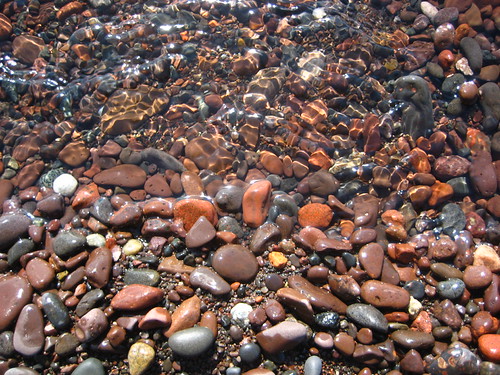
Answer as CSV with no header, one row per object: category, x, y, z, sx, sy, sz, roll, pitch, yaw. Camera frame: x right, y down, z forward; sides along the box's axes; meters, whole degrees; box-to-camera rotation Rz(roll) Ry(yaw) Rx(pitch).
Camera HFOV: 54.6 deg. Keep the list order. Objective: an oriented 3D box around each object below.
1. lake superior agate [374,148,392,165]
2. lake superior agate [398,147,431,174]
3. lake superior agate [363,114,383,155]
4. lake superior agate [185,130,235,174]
lake superior agate,2.159,-0.469,7.898,0.265,0.123,0.223,-36,51,-7
lake superior agate,2.723,-0.381,7.888,0.429,0.236,0.414,-43,52,-12
lake superior agate,1.989,-0.859,7.925,0.272,0.253,0.614,1,84,16
lake superior agate,-0.626,-0.563,7.890,0.597,0.265,0.625,20,82,-3
